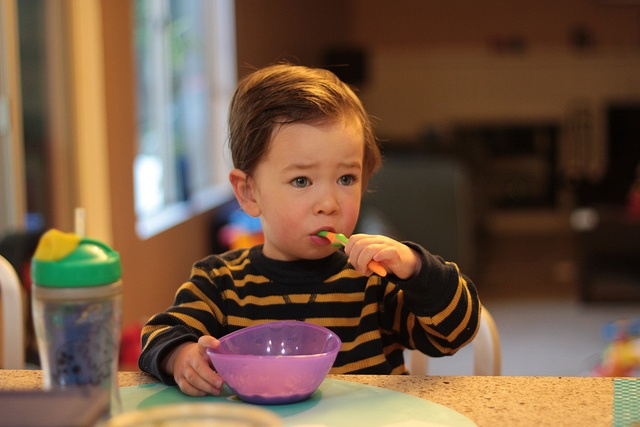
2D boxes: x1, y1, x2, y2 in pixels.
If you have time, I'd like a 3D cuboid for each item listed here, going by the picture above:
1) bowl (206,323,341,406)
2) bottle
[{"bbox_3d":[-0.085,0.265,1.259,0.183,0.071,0.167,-2,-4,0],"label":"bowl"},{"bbox_3d":[-0.409,0.186,1.111,0.144,0.318,0.064,2,7,11],"label":"bottle"}]
